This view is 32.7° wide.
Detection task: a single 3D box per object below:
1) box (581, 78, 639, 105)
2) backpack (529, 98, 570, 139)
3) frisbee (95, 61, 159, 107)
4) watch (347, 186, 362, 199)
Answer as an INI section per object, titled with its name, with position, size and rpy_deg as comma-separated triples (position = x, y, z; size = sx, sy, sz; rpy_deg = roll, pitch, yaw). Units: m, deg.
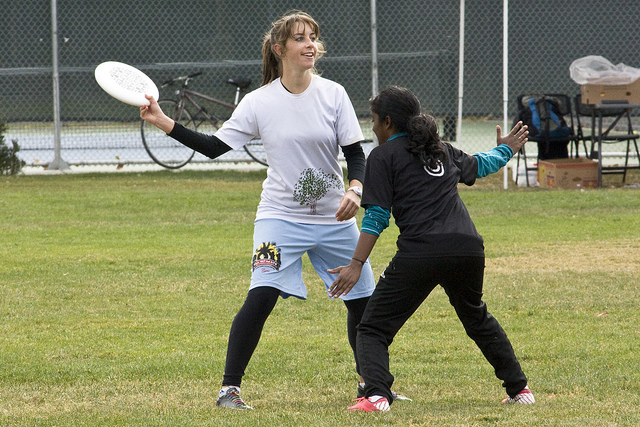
[box]
position = 4.418, -1.864, 16.643
size = 0.824, 0.385, 0.237
rpy_deg = 1, 6, 18
[backpack]
position = 3.524, -1.541, 17.287
size = 0.442, 0.785, 0.697
rpy_deg = -15, 14, -41
[frisbee]
position = -1.842, -1.262, 10.661
size = 0.622, 0.440, 0.383
rpy_deg = 2, 6, 21
[watch]
position = 0.345, -0.207, 10.461
size = 0.116, 0.102, 0.075
rpy_deg = 8, 21, 4
